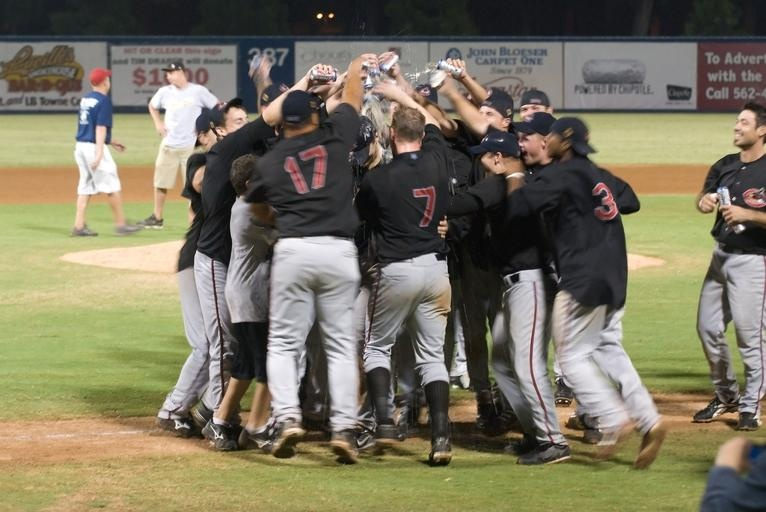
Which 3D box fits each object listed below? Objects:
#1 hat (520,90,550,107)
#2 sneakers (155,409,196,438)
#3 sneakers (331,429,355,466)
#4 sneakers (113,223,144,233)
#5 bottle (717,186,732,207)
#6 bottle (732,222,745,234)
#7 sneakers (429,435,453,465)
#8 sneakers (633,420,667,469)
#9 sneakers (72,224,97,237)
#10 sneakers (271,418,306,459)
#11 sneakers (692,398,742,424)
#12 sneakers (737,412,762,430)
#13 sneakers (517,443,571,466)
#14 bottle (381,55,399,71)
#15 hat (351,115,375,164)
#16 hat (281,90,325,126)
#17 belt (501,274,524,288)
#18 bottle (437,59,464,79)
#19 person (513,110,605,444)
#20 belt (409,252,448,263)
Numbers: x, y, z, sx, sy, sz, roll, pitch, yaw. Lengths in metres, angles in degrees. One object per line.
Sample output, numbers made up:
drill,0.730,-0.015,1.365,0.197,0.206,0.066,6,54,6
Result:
hat,1.913,-2.007,16.575,0.313,0.156,0.282,1,-7,6
sneakers,-2.384,1.981,15.410,0.563,0.215,0.208,17,5,2
sneakers,-0.420,2.134,14.659,0.194,0.191,0.472,-5,-17,9
sneakers,-4.375,-0.487,22.729,0.468,0.165,0.157,-7,36,-4
bottle,4.068,-0.703,15.658,0.165,0.227,0.238,0,5,13
bottle,4.225,-0.318,15.608,0.152,0.115,0.132,0,5,15
sneakers,0.647,2.190,14.804,0.254,0.347,0.195,-1,5,1
sneakers,2.929,2.117,14.768,0.244,0.616,0.280,25,8,-2
sneakers,-5.083,-0.433,22.774,0.534,0.193,0.178,-1,18,-11
sneakers,-1.099,2.069,14.692,0.260,0.537,0.247,22,32,-19
sneakers,3.980,1.849,15.907,0.668,0.255,0.231,-13,26,-3
sneakers,4.372,1.959,15.619,0.337,0.208,0.154,-2,5,-14
sneakers,1.835,2.239,14.854,0.682,0.234,0.221,-1,4,-8
bottle,0.082,-2.329,15.843,0.163,0.249,0.324,0,5,12
hat,-0.216,-1.312,15.094,0.437,0.413,0.501,-1,-13,1
hat,-0.888,-1.653,14.674,0.337,0.213,0.423,-1,37,20
belt,1.461,0.285,14.955,0.177,0.117,0.170,-28,4,-23
bottle,0.828,-2.280,16.074,0.296,0.099,0.106,19,-2,-9
person,2.169,0.326,14.849,1.179,3.774,0.558,0,5,8
belt,0.531,0.031,14.899,0.427,0.137,0.081,-3,5,-28
